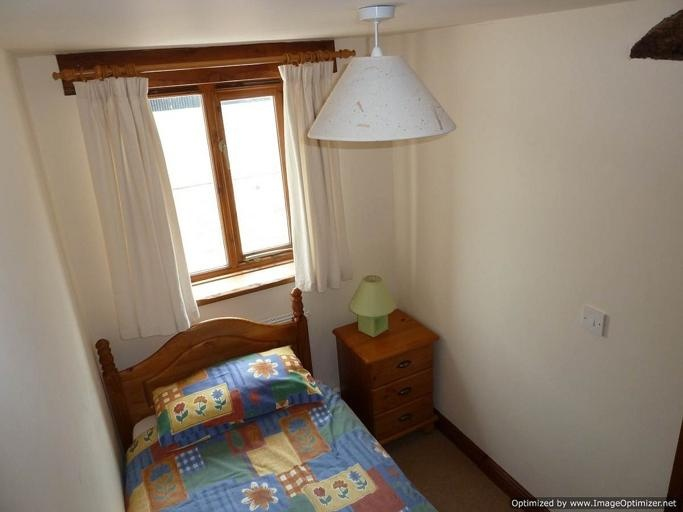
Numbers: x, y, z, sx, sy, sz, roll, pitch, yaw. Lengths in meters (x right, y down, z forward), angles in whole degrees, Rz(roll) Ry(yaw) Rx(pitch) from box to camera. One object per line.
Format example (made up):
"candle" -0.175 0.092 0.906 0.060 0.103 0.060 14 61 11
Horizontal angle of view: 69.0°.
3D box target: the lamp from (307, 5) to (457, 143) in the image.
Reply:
"lamp" 0.116 -0.593 1.687 0.358 0.286 0.377 -2 15 2

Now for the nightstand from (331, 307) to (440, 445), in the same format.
"nightstand" 0.330 0.865 3.524 0.570 0.762 0.527 -18 27 -29

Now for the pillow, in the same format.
"pillow" -0.678 0.837 2.980 0.736 0.211 0.463 -14 36 -23

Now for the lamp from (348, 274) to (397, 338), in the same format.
"lamp" 0.220 0.325 3.363 0.281 0.400 0.300 8 25 24
